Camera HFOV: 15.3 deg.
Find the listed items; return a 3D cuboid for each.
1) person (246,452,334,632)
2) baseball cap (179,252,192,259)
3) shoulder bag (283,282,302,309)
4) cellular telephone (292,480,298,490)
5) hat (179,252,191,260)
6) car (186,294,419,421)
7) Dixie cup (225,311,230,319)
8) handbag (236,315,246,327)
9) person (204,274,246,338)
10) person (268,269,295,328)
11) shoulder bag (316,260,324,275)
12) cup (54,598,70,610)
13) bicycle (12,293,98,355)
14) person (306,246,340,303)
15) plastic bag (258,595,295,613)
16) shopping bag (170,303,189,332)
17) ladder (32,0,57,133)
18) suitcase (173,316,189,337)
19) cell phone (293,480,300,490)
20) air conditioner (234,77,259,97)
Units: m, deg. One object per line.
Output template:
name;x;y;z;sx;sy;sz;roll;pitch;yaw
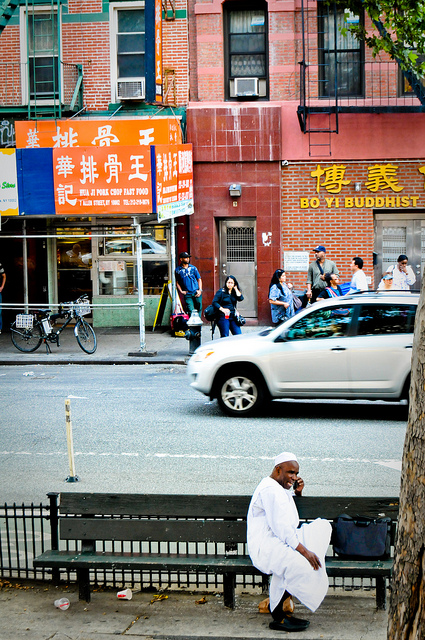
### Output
person;0.695;1.949;13.931;0.650;1.516;0.639;-5;5;-32
baseball cap;-0.485;-1.081;26.686;0.122;0.078;0.191;-5;-1;-32
shoulder bag;1.217;-0.341;23.747;0.187;0.413;0.635;-1;4;14
cellular telephone;0.743;1.470;14.037;0.046;0.105;0.124;-2;4;2
hat;-0.496;-1.083;26.681;0.122;0.089;0.183;-6;-2;-44
car;1.167;0.498;19.705;2.738;1.367;1.347;1;-1;7
Dixie cup;0.233;-0.064;23.666;0.055;0.063;0.109;6;-26;-1
handbag;0.449;0.042;24.005;0.158;0.195;0.129;-3;10;-26
person;0.198;0.015;23.767;0.547;1.351;0.423;-2;-6;0
person;1.059;-0.327;23.931;0.307;0.476;1.050;-2;-37;6
shoulder bag;1.760;-0.855;25.716;0.084;0.224;0.203;-2;4;-4
cup;-1.343;2.556;14.218;0.138;0.088;0.148;-3;4;0
bicycle;-2.634;0.090;26.425;1.496;1.096;0.532;-1;20;-7
person;1.802;-0.471;25.751;0.515;1.429;0.406;0;7;2
plastic bag;0.573;2.547;13.978;0.250;0.109;0.168;-3;11;1
shopping bag;-0.500;-0.101;27.659;0.286;0.515;0.463;0;-3;-6
ladder;-3.097;-4.839;29.239;0.405;2.102;1.336;-3;4;-6
suitcase;-0.543;0.131;27.243;0.379;0.337;0.567;4;8;-6
cell phone;0.750;1.475;14.043;0.051;0.105;0.053;1;5;3
air conditioner;0.622;-4.225;28.682;0.494;0.422;0.288;1;1;9
